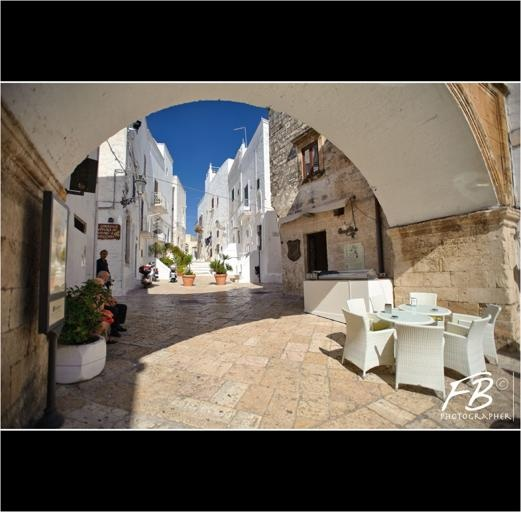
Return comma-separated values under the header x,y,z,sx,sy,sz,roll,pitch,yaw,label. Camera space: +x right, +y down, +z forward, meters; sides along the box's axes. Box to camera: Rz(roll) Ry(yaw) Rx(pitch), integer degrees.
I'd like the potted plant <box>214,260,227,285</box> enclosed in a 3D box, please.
x,y,z,sx,sy,sz,roll,pitch,yaw,label
-1.780,0.623,15.760,0.557,1.004,1.082,0,2,-5,potted plant

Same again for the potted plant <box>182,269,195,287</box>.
x,y,z,sx,sy,sz,roll,pitch,yaw,label
-3.097,0.806,15.170,0.571,0.736,0.584,-6,-9,42,potted plant

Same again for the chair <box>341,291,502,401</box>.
x,y,z,sx,sy,sz,roll,pitch,yaw,label
1.626,0.919,3.955,1.569,0.706,1.054,2,3,37,chair

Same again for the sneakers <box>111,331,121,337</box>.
x,y,z,sx,sy,sz,roll,pitch,yaw,label
-2.171,1.088,5.292,0.135,0.072,0.052,2,1,6,sneakers

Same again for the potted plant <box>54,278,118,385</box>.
x,y,z,sx,sy,sz,roll,pitch,yaw,label
-1.956,0.739,3.879,0.462,0.959,1.258,-1,2,-19,potted plant

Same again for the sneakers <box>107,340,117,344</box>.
x,y,z,sx,sy,sz,roll,pitch,yaw,label
-2.095,1.122,4.954,0.124,0.055,0.045,-2,8,-40,sneakers

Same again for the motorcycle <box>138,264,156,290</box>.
x,y,z,sx,sy,sz,roll,pitch,yaw,label
-4.721,0.653,14.305,0.524,0.942,1.429,0,6,-6,motorcycle
